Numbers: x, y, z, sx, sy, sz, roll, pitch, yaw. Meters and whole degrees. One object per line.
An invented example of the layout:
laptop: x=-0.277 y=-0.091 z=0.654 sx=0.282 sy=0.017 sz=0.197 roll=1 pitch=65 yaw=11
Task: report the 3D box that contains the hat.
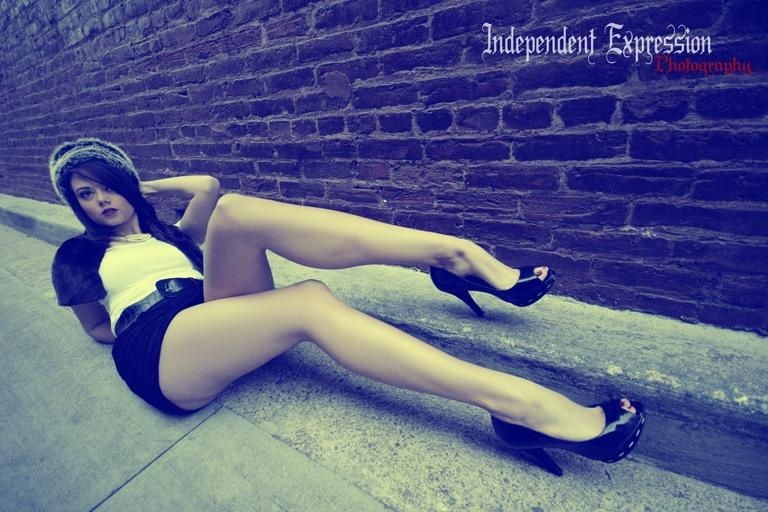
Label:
hat: x=-1.632 y=-0.471 z=2.670 sx=0.383 sy=0.203 sz=0.447 roll=-33 pitch=31 yaw=-23
